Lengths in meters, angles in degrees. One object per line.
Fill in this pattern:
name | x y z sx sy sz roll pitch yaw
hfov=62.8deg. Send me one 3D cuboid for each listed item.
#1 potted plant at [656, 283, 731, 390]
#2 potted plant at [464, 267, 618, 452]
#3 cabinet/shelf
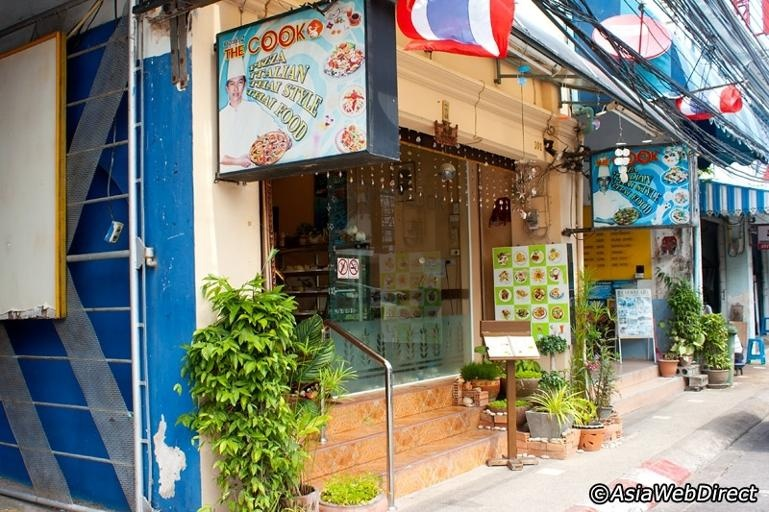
potted plant | 7.017 1.914 14.435 1.711 2.721 1.236 4 -19 -11
potted plant | 2.363 1.641 9.838 1.120 2.339 2.289 -3 -6 35
cabinet/shelf | -0.857 0.464 10.071 0.490 1.539 1.646 8 -3 13
